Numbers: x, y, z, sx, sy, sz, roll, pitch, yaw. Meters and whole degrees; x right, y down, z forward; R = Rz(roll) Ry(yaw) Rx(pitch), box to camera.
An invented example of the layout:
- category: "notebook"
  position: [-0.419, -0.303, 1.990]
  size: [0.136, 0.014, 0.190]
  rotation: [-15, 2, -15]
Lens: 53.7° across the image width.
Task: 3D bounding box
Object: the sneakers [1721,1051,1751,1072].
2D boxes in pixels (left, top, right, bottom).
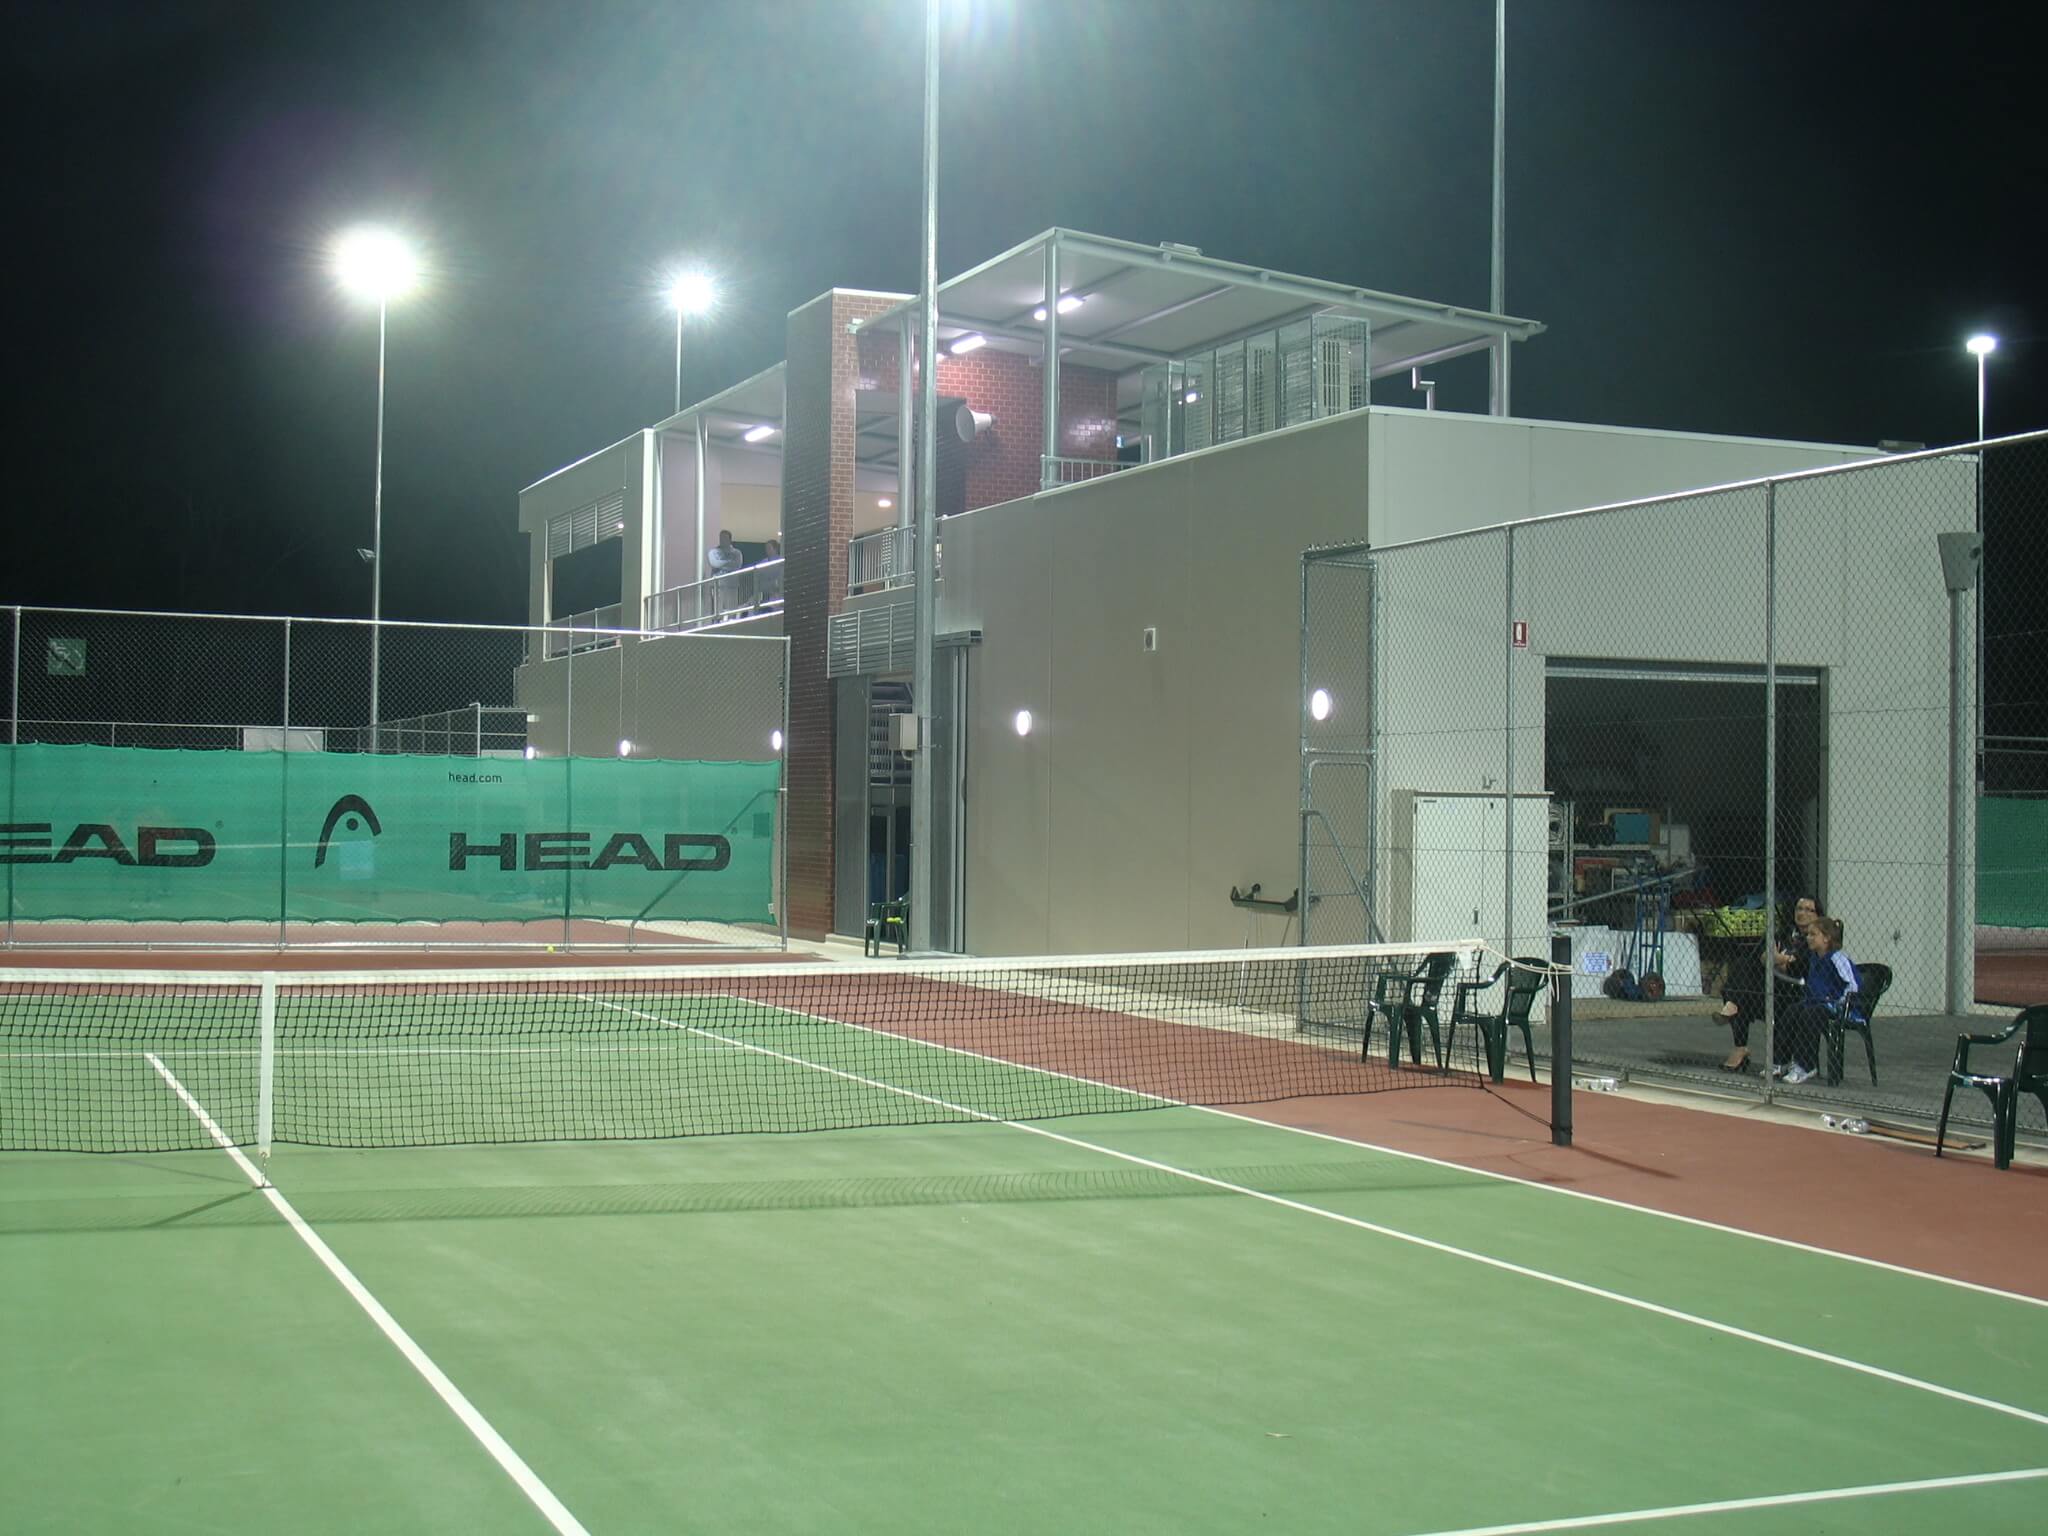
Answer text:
- category: "sneakers"
  position: [5.842, 2.378, 16.550]
  size: [0.172, 0.149, 0.367]
  rotation: [1, 2, 19]

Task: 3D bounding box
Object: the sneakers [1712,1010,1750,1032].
- category: "sneakers"
  position: [5.932, 2.094, 17.002]
  size: [0.204, 0.116, 0.292]
  rotation: [3, -1, 13]

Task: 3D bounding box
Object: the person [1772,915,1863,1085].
- category: "person"
  position: [6.268, 1.755, 16.003]
  size: [0.554, 1.382, 1.068]
  rotation: [1, 3, 21]
